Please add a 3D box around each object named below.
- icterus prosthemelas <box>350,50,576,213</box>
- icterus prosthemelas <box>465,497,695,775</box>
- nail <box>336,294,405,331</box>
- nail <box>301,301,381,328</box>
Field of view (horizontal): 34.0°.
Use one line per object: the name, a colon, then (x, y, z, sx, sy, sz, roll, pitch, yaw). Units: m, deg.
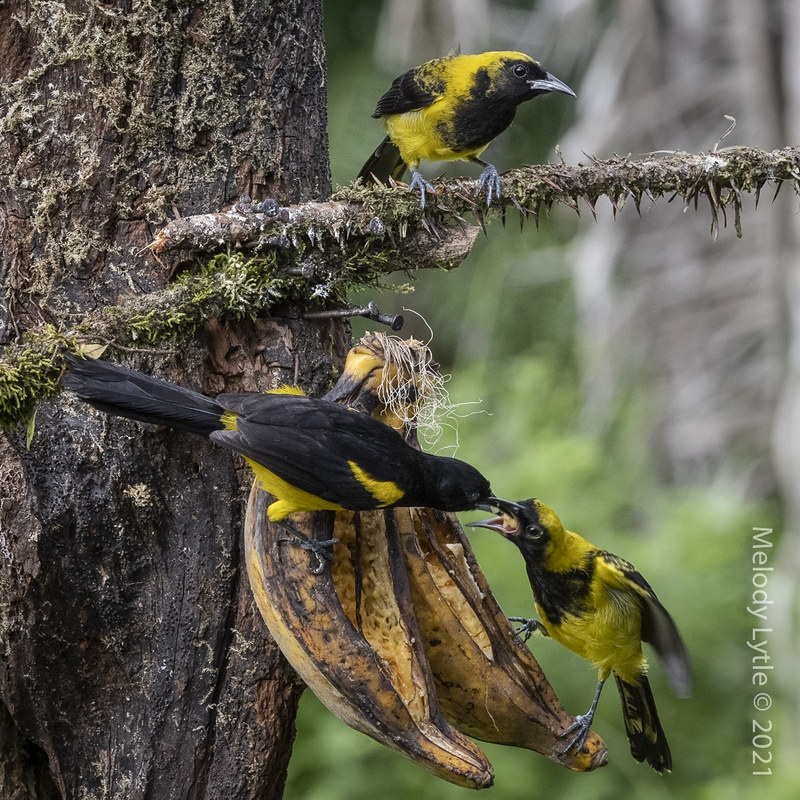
icterus prosthemelas: (0.228, -1.162, 5.706, 0.897, 0.390, 1.142, -1, 44, 30)
icterus prosthemelas: (0.774, 0.817, 5.166, 1.318, 1.212, 0.635, 3, 25, -4)
nail: (-0.124, -0.310, 4.839, 0.291, 0.087, 0.097, 6, 15, 34)
nail: (-0.205, -0.321, 4.881, 0.481, 0.073, 0.098, 3, 9, 40)
